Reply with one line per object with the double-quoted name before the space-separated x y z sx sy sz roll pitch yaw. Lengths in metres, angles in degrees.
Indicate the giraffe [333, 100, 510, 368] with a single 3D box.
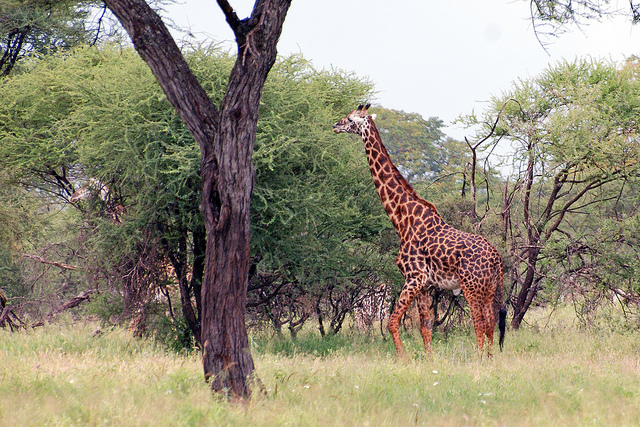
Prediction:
"giraffe" 2.972 0.135 21.522 4.263 7.612 6.389 0 -1 2
